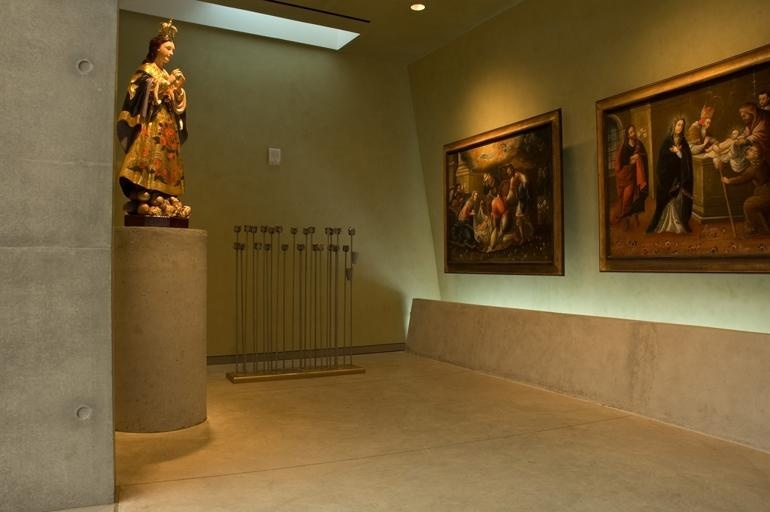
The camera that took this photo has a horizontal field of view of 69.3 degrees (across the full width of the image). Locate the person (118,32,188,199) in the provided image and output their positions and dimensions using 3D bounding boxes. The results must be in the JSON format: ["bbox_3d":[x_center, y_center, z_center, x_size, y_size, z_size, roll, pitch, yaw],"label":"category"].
[{"bbox_3d":[-2.352,-1.396,5.600,0.747,1.627,0.391,-7,9,-43],"label":"person"}]
